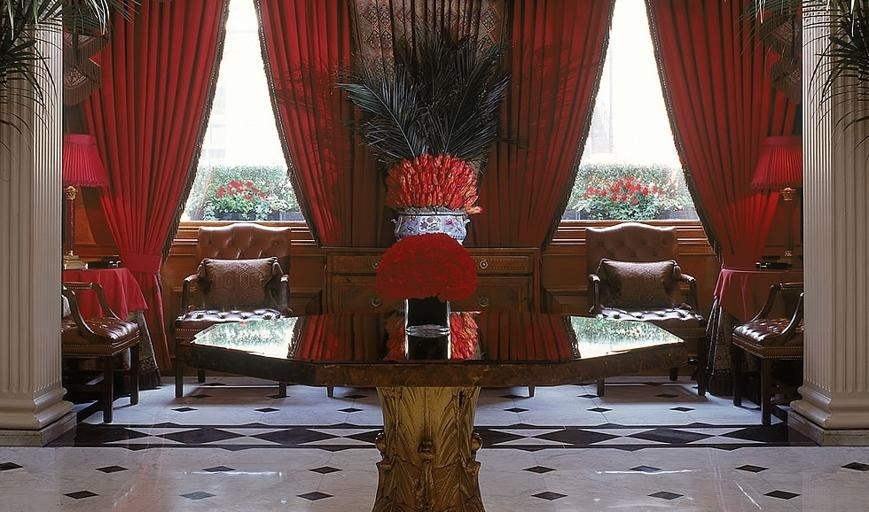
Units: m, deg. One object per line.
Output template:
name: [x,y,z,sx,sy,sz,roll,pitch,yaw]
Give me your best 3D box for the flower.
flower: [-0.020,-0.560,5.158,0.638,0.299,0.541,1,-2,-28]
